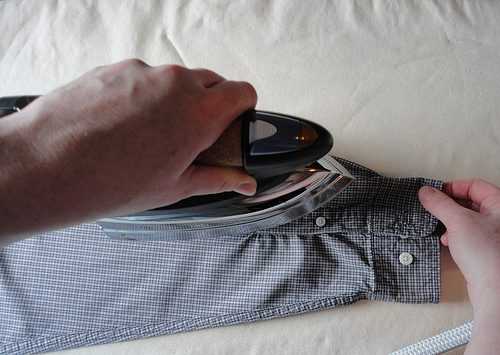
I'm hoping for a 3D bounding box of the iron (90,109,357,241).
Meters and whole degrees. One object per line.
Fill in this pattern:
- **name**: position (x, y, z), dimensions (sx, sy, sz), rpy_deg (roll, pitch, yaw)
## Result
- **iron**: position (0.008, 0.017, 1.090), dimensions (0.653, 0.343, 0.227), rpy_deg (-11, 80, 4)
